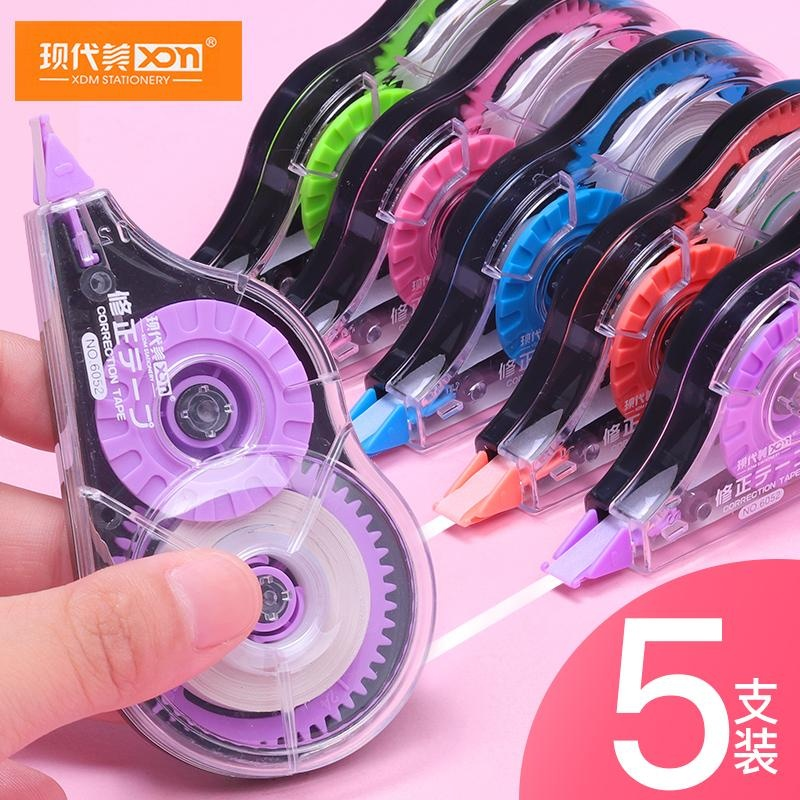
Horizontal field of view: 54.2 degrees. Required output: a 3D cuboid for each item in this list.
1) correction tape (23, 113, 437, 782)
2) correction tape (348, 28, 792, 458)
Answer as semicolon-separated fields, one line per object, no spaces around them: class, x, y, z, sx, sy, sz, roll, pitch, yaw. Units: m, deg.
correction tape;-0.325;0.093;1.213;0.484;0.886;0.216;-27;1;-22
correction tape;0.298;-0.539;2.271;0.933;0.931;1.367;-17;39;-24
